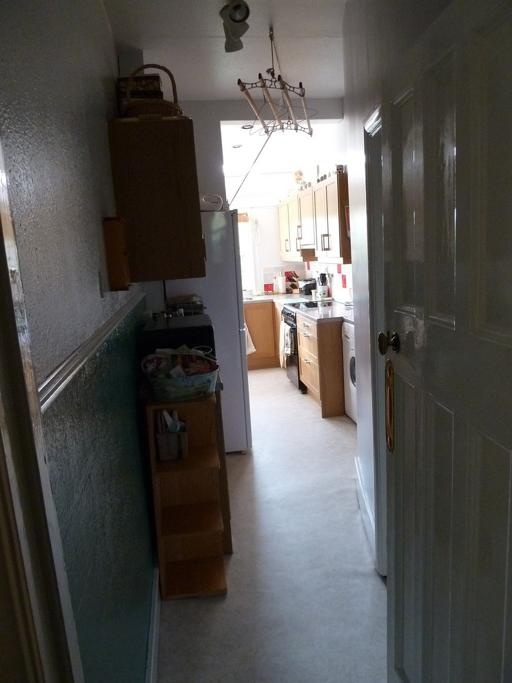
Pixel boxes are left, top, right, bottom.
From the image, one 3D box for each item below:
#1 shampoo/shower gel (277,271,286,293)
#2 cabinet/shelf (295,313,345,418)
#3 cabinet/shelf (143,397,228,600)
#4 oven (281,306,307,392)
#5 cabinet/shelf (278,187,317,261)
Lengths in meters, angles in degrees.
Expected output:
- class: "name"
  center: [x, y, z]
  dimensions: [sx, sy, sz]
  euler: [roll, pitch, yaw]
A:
- class: "shampoo/shower gel"
  center: [0.348, -0.802, 7.043]
  dimensions: [0.120, 0.261, 0.156]
  euler: [-1, 8, 6]
- class: "cabinet/shelf"
  center: [0.588, 0.148, 4.801]
  dimensions: [0.227, 0.826, 0.748]
  euler: [-5, 10, -9]
- class: "cabinet/shelf"
  center: [-0.294, 0.651, 2.319]
  dimensions: [0.344, 0.832, 0.374]
  euler: [-2, 8, -4]
- class: "oven"
  center: [0.393, 0.058, 5.273]
  dimensions: [0.314, 0.812, 0.688]
  euler: [-1, 7, -6]
- class: "cabinet/shelf"
  center: [0.458, -1.305, 5.857]
  dimensions: [0.302, 0.745, 1.861]
  euler: [-2, 9, 1]
